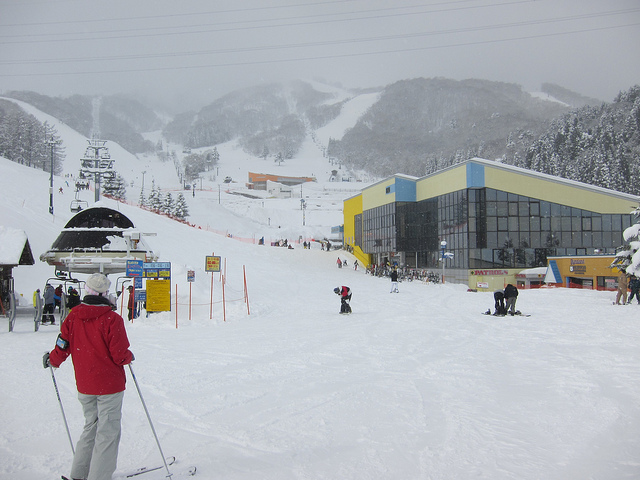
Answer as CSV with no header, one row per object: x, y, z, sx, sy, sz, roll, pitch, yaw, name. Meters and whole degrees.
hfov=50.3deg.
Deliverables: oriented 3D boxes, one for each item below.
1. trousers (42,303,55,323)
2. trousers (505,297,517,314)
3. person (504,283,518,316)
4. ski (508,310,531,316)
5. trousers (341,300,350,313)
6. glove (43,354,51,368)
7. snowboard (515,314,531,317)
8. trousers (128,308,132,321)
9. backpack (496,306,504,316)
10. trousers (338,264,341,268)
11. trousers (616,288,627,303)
-11.748,3.149,29.560,0.634,0.829,0.523,-1,-4,0,trousers
8.877,3.048,32.043,0.442,0.707,0.604,1,-5,-34,trousers
8.925,2.793,32.105,0.534,1.504,1.327,-2,-4,14,person
9.059,3.450,31.808,0.589,0.263,0.184,-3,-4,35,ski
1.190,3.291,33.874,0.494,0.749,0.404,1,-16,-1,trousers
-6.447,2.861,16.119,0.198,0.319,0.117,3,-5,7,glove
9.391,3.479,31.663,0.575,0.060,0.333,-2,-5,11,snowboard
-8.710,3.417,31.392,0.113,0.569,0.836,0,-5,-20,trousers
8.406,3.328,31.959,0.352,0.537,0.354,2,-5,-31,backpack
1.842,2.438,65.844,0.303,0.627,0.332,-1,-5,8,trousers
14.761,2.714,33.524,0.431,0.716,0.661,-2,-4,17,trousers
